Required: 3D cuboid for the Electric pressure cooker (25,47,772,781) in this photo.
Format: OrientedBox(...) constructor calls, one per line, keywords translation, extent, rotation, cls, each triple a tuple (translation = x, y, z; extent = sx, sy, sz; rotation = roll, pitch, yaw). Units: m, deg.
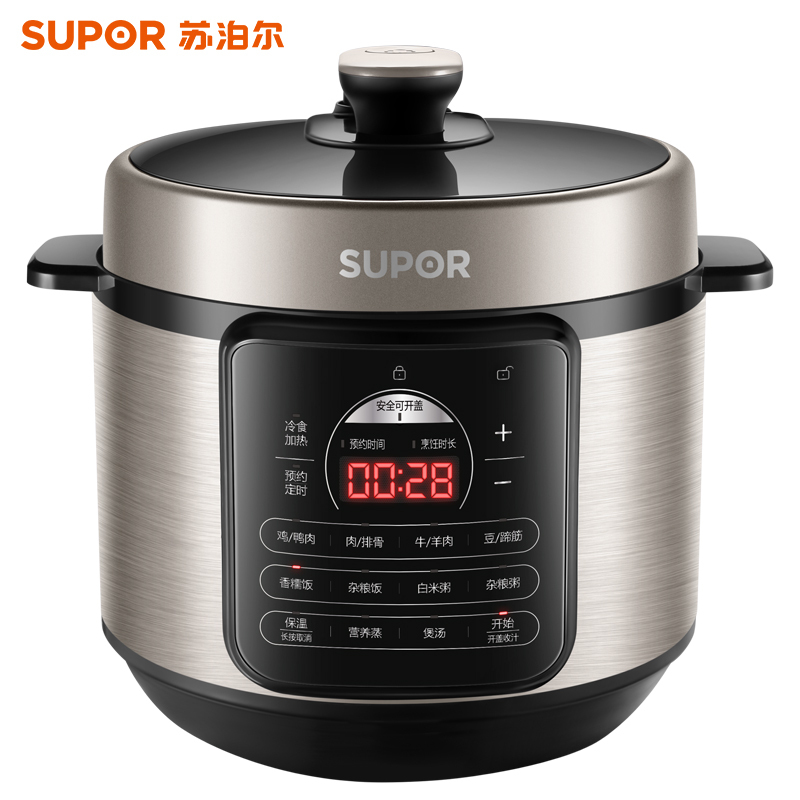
OrientedBox(translation=(0.019, 0.005, 1.001), extent=(0.723, 0.696, 0.322), rotation=(-4, 9, -8), cls="Electric pressure cooker")
